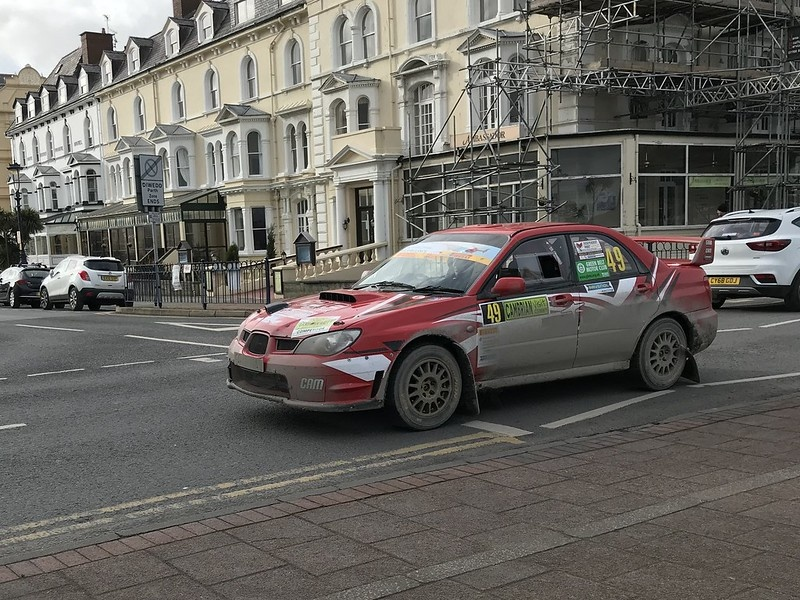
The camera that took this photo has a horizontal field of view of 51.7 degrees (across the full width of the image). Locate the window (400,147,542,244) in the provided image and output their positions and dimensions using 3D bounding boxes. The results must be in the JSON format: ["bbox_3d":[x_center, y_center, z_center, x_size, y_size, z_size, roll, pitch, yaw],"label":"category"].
[{"bbox_3d":[2.264,-3.459,26.030,1.321,1.828,3.384,12,-2,-40],"label":"window"}]

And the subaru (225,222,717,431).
[{"bbox_3d":[0.982,0.252,9.199,4.677,1.725,2.282,-2,3,-27],"label":"subaru"}]

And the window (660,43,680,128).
[{"bbox_3d":[8.235,-6.597,25.193,0.430,2.427,1.597,1,9,19],"label":"window"}]

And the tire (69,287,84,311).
[{"bbox_3d":[-10.340,-0.106,26.516,0.218,0.697,0.671,3,5,-39],"label":"tire"}]

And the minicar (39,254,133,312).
[{"bbox_3d":[-10.561,-0.589,27.531,4.444,1.883,1.536,6,11,41],"label":"minicar"}]

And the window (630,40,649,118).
[{"bbox_3d":[7.164,-6.712,24.685,0.523,2.390,1.067,1,8,16],"label":"window"}]

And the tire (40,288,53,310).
[{"bbox_3d":[-12.019,-0.099,28.243,0.617,0.640,0.207,17,5,43],"label":"tire"}]

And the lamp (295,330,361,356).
[{"bbox_3d":[-0.658,0.399,7.904,0.411,0.151,0.292,-12,3,-16],"label":"lamp"}]

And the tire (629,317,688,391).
[{"bbox_3d":[2.951,0.593,9.485,0.747,0.820,0.252,9,-6,-36],"label":"tire"}]

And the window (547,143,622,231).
[{"bbox_3d":[5.364,-3.328,23.825,2.163,2.609,0.094,0,-13,12],"label":"window"}]

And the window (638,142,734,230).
[{"bbox_3d":[8.430,-3.415,24.319,4.077,2.576,0.170,-4,6,-28],"label":"window"}]

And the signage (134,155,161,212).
[{"bbox_3d":[-7.057,-3.351,23.388,0.723,1.598,1.098,-4,9,-18],"label":"signage"}]

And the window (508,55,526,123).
[{"bbox_3d":[3.548,-6.504,24.979,0.458,2.309,0.109,4,-13,1],"label":"window"}]

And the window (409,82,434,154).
[{"bbox_3d":[0.834,-6.555,29.264,0.249,2.351,1.028,-9,4,-44],"label":"window"}]
